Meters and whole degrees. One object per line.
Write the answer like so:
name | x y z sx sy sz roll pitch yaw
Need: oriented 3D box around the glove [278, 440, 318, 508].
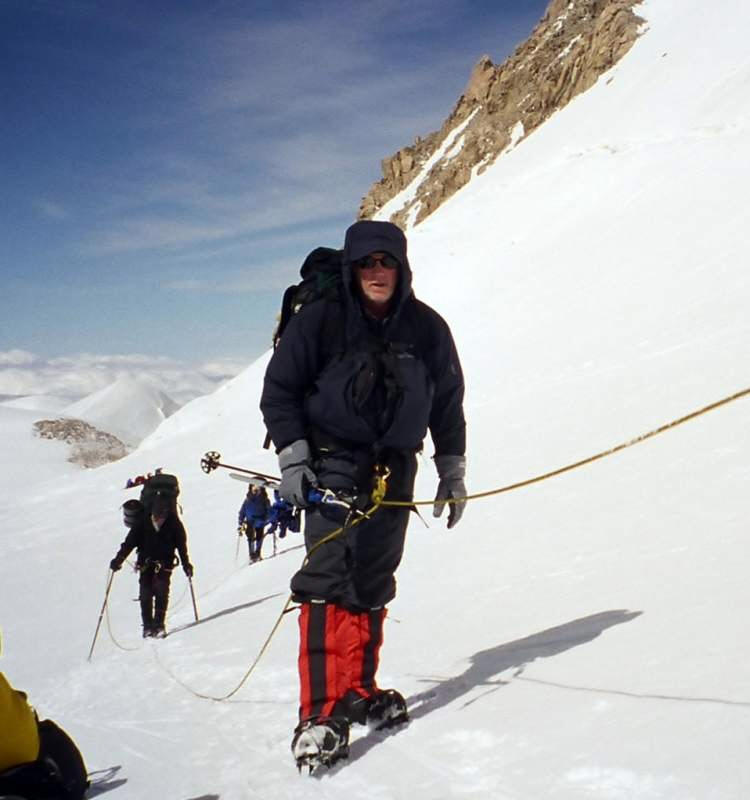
glove | -0.521 0.510 6.585 0.265 0.470 0.213 0 -3 -7

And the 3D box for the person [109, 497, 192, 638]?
person | -2.648 1.964 11.478 0.828 1.559 1.091 0 -3 -3

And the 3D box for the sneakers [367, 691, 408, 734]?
sneakers | 0.089 2.056 6.407 0.237 0.229 0.263 -4 -31 12

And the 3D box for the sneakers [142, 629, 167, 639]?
sneakers | -2.455 2.638 10.861 0.158 0.097 0.348 1 -6 -44

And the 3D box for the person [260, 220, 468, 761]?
person | -0.060 0.521 6.693 1.509 3.631 0.781 2 -4 -33
